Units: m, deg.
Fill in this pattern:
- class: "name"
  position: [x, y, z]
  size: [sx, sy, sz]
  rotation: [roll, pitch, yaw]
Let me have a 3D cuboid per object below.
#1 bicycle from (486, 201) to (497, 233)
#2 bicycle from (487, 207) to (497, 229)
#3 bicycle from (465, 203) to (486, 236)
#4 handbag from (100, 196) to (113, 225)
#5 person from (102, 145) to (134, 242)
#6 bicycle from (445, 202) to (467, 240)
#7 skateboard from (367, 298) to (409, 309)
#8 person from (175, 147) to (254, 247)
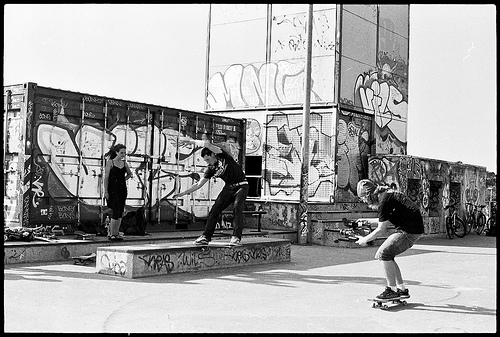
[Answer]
- class: "bicycle"
  position: [11.221, 2.238, 24.507]
  size: [0.333, 1.278, 1.750]
  rotation: [2, 1, 24]
- class: "bicycle"
  position: [11.197, 2.316, 24.416]
  size: [0.353, 0.850, 1.162]
  rotation: [3, 1, 28]
- class: "bicycle"
  position: [10.925, 2.377, 24.773]
  size: [0.963, 1.329, 2.183]
  rotation: [6, -11, 34]
- class: "handbag"
  position: [-4.030, 1.278, 15.275]
  size: [0.194, 0.875, 0.589]
  rotation: [2, -6, 30]
- class: "person"
  position: [-3.626, 0.660, 14.426]
  size: [0.676, 2.577, 1.573]
  rotation: [2, 1, -13]
- class: "bicycle"
  position: [8.771, 2.297, 22.952]
  size: [0.791, 1.311, 2.014]
  rotation: [-3, 4, 1]
- class: "skateboard"
  position: [2.542, 2.445, 9.631]
  size: [0.736, 0.133, 0.316]
  rotation: [2, 1, -25]
- class: "person"
  position: [-0.631, 0.711, 12.432]
  size: [1.125, 2.340, 0.728]
  rotation: [2, 1, -8]
